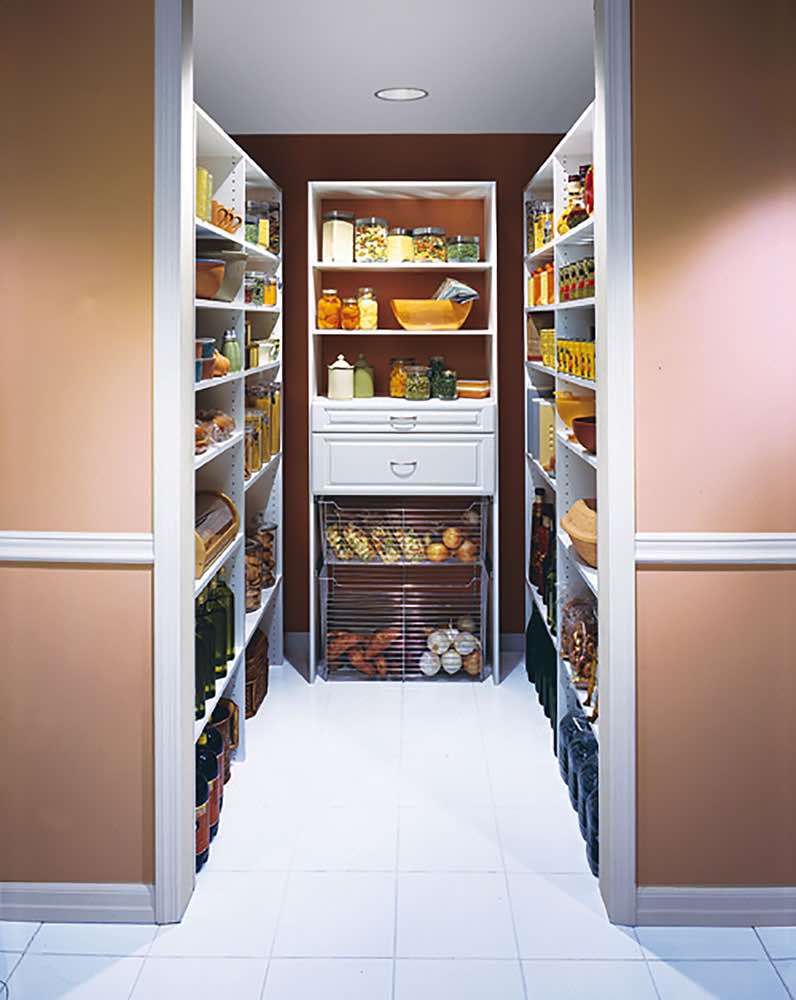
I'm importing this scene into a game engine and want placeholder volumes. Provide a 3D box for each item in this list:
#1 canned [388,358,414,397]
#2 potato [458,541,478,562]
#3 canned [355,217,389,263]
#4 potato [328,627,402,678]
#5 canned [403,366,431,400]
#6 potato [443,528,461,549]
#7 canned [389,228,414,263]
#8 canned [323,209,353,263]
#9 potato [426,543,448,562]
[{"bbox_3d":[-0.001,-0.554,3.436,0.124,0.246,0.138,1,4,14],"label":"canned"},{"bbox_3d":[0.296,0.218,3.309,0.068,0.081,0.070,-2,1,-37],"label":"potato"},{"bbox_3d":[-0.119,-1.107,3.265,0.143,0.194,0.161,0,6,-5],"label":"canned"},{"bbox_3d":[-0.166,0.658,3.365,0.214,0.084,0.241,2,6,5],"label":"potato"},{"bbox_3d":[0.077,-0.514,3.352,0.112,0.160,0.126,0,5,-2],"label":"canned"},{"bbox_3d":[0.227,0.163,3.301,0.068,0.100,0.075,2,-2,-14],"label":"potato"},{"bbox_3d":[0.009,-1.086,3.304,0.115,0.159,0.124,-3,6,-24],"label":"canned"},{"bbox_3d":[-0.252,-1.128,3.302,0.132,0.202,0.093,-1,1,-9],"label":"canned"},{"bbox_3d":[0.161,0.221,3.280,0.062,0.065,0.070,0,14,-7],"label":"potato"}]
